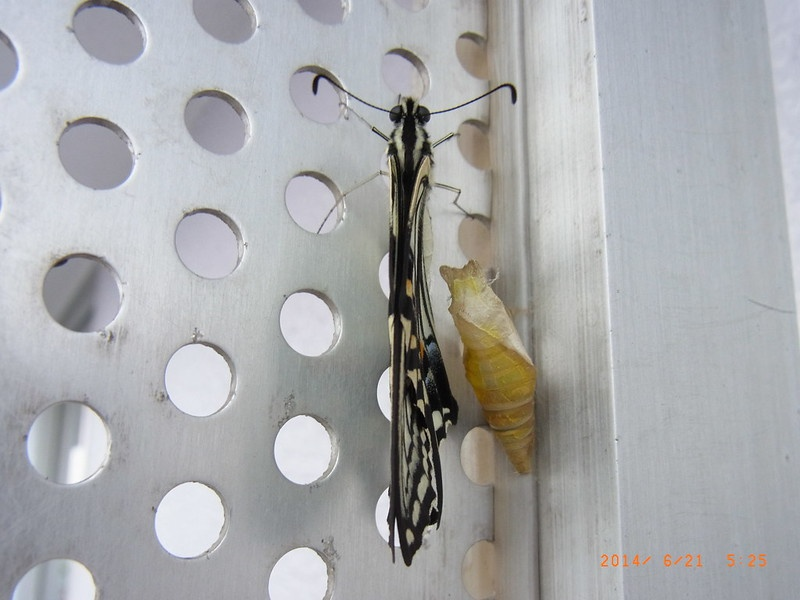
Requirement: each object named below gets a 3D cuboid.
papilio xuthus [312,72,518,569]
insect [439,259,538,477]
[{"bbox_3d":[0.030,0.071,1.908,0.247,0.977,0.357,-1,-2,16],"label":"papilio xuthus"},{"bbox_3d":[0.180,0.111,1.975,0.129,0.144,0.454,-18,-87,31],"label":"insect"}]
